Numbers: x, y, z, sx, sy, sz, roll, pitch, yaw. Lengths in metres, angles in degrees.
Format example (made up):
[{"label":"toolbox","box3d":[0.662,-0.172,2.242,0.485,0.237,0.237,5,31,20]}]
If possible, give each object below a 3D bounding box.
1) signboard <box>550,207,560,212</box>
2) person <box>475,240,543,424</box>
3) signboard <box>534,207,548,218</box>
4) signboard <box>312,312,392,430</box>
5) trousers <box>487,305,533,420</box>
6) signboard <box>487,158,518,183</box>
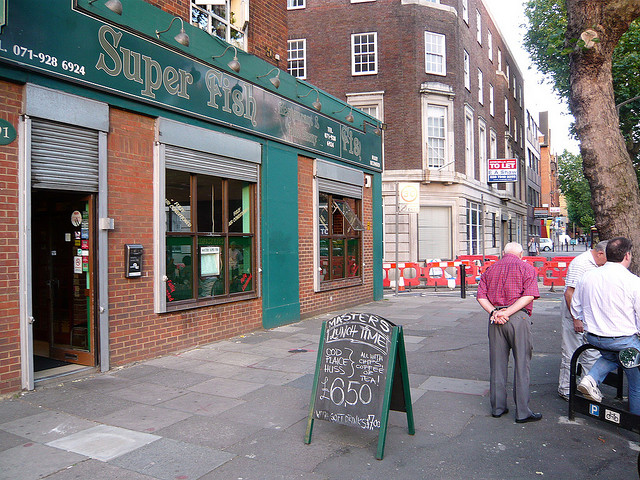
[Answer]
[{"label":"signboard","box3d":[31.080,-3.972,68.911,0.904,0.475,10.651,3,5,23]},{"label":"person","box3d":[2.466,1.170,6.713,0.840,2.239,0.498,4,5,30]},{"label":"signboard","box3d":[21.753,-2.711,52.072,1.179,1.029,1.823,-2,2,38]},{"label":"signboard","box3d":[0.391,1.535,6.093,0.898,1.355,0.646,8,15,6]},{"label":"trousers","box3d":[2.439,1.562,6.661,0.565,1.432,0.355,3,5,22]},{"label":"signboard","box3d":[10.125,-3.862,29.000,1.678,1.459,0.248,1,-23,21]}]
